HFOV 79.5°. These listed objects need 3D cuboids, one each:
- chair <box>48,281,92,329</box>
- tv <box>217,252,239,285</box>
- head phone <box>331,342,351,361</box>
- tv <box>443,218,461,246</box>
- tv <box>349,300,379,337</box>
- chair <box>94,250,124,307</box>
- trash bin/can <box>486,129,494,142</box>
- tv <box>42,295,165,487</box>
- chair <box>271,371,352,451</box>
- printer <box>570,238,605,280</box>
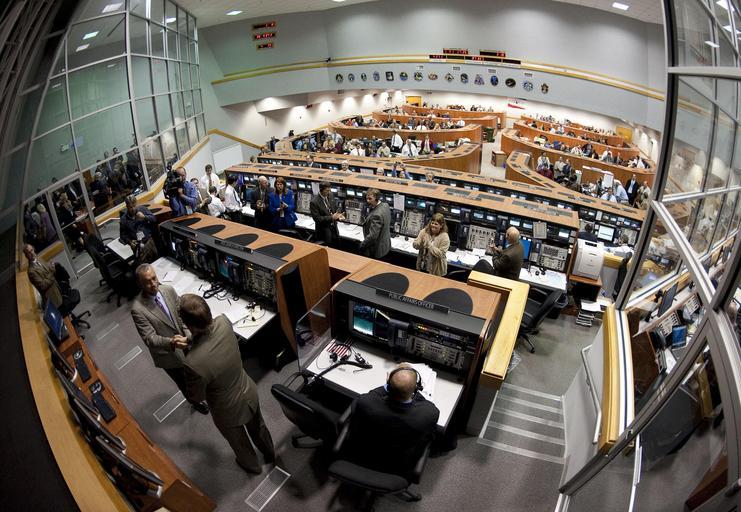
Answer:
[{"bbox_3d":[-4.809,0.808,7.126,0.735,0.495,0.483,-6,6,45],"label":"chair"},{"bbox_3d":[-2.178,0.186,6.877,0.566,0.413,0.137,15,14,41],"label":"tv"},{"bbox_3d":[-0.395,1.315,6.056,0.291,0.159,0.278,7,11,9],"label":"head phone"},{"bbox_3d":[1.542,-0.417,8.226,0.309,0.499,0.157,7,10,11],"label":"tv"},{"bbox_3d":[-0.073,0.866,6.020,0.489,0.599,0.036,15,36,16],"label":"tv"},{"bbox_3d":[-4.827,0.420,8.276,0.540,0.860,0.536,-14,40,-26],"label":"chair"},{"bbox_3d":[5.796,-5.798,21.422,0.482,0.524,0.538,10,29,31],"label":"trash bin/can"},{"bbox_3d":[-3.202,1.665,5.403,0.327,0.693,2.022,-27,43,-24],"label":"tv"},{"bbox_3d":[-0.692,1.965,5.560,0.585,0.768,0.681,17,45,24],"label":"chair"},{"bbox_3d":[3.685,0.073,7.563,0.435,0.626,0.394,10,11,24],"label":"printer"}]
